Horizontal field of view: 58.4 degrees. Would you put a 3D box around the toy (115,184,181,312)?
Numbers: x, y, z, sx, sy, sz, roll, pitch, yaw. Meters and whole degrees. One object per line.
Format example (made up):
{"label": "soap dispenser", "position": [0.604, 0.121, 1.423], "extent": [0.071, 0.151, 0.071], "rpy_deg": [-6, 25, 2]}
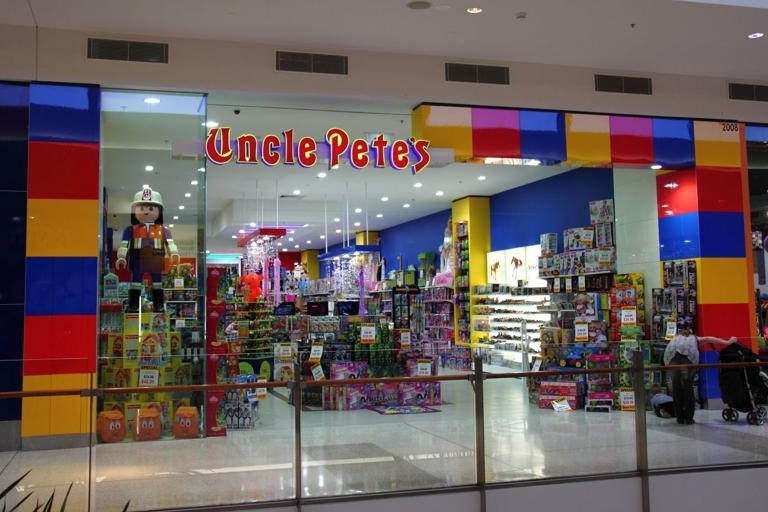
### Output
{"label": "toy", "position": [-3.197, -0.108, 9.316], "extent": [0.783, 1.688, 0.270], "rpy_deg": [2, -6, -17]}

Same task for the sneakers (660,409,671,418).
{"label": "sneakers", "position": [3.083, 1.718, 7.566], "extent": [0.143, 0.087, 0.054], "rpy_deg": [3, -6, -23]}

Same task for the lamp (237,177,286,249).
{"label": "lamp", "position": [-2.952, -0.703, 16.141], "extent": [0.713, 1.149, 2.404], "rpy_deg": [1, -7, -10]}

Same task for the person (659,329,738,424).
{"label": "person", "position": [3.627, 1.380, 8.285], "extent": [0.395, 1.157, 1.359], "rpy_deg": [13, -17, -23]}

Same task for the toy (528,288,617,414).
{"label": "toy", "position": [2.682, 1.257, 9.591], "extent": [0.482, 1.336, 1.178], "rpy_deg": [1, -2, -28]}
